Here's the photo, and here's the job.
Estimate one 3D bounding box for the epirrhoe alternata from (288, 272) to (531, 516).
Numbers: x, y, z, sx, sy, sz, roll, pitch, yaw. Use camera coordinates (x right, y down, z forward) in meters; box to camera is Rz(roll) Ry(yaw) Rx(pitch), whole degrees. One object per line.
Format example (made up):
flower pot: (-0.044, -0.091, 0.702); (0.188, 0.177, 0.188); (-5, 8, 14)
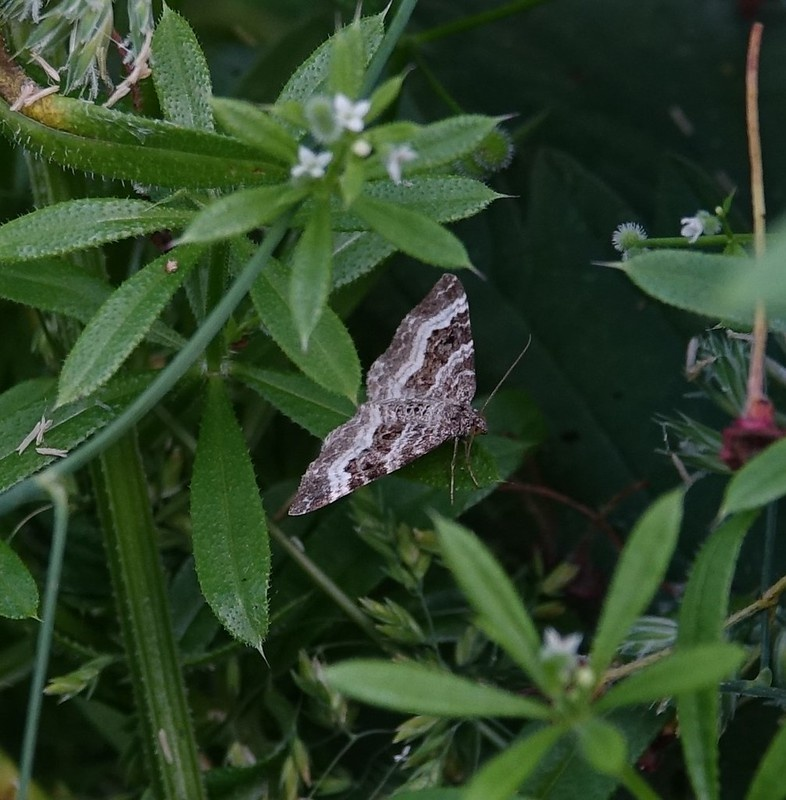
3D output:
epirrhoe alternata: (0.014, -0.015, 1.067); (0.159, 0.191, 0.273); (-4, 16, 34)

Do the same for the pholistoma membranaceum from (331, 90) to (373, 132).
pholistoma membranaceum: (-0.029, -0.210, 0.772); (0.032, 0.028, 0.007); (3, -7, -16)

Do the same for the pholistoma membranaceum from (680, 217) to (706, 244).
pholistoma membranaceum: (0.288, -0.165, 1.006); (0.021, 0.025, 0.030); (-10, 14, 15)
